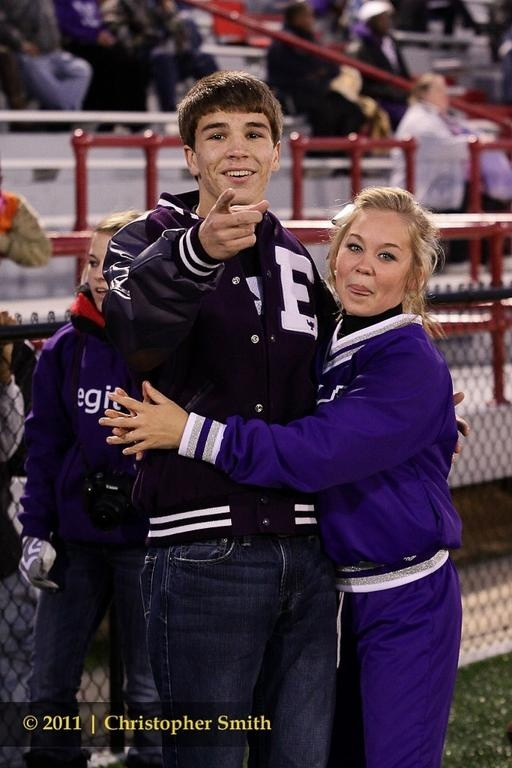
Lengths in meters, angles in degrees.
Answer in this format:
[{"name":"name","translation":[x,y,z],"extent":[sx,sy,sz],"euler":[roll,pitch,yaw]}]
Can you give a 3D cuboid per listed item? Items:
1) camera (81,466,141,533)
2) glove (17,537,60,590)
[{"name":"camera","translation":[-0.354,0.285,2.261],"extent":[0.143,0.081,0.165],"euler":[-6,29,-22]},{"name":"glove","translation":[-0.545,0.459,2.319],"extent":[0.064,0.097,0.142],"euler":[-2,11,-21]}]
